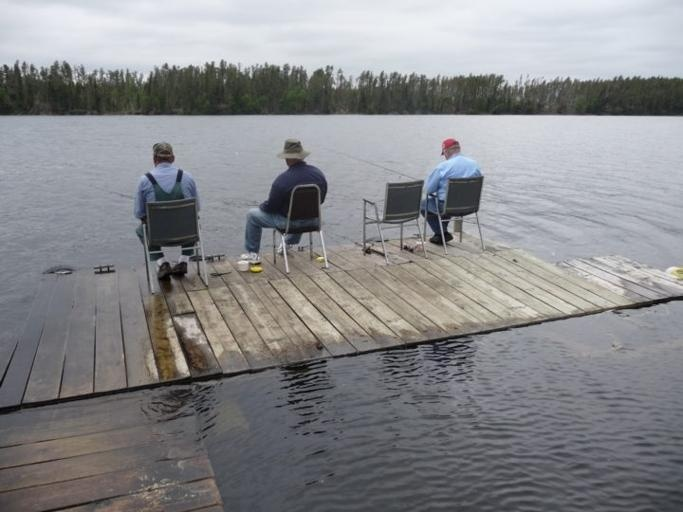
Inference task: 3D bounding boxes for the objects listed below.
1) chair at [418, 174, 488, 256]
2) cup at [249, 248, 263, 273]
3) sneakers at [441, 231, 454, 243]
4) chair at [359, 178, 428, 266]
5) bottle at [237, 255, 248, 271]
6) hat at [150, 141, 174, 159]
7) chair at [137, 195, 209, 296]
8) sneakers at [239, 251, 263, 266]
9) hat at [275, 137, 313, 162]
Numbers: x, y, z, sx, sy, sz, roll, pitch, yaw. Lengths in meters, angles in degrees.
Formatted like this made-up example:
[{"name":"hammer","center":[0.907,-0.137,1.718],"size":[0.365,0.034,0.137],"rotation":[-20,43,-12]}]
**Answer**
[{"name":"chair","center":[1.838,-0.725,7.970],"size":[1.044,1.028,0.952],"rotation":[-1,8,3]},{"name":"cup","center":[-1.224,0.084,7.006],"size":[0.139,0.146,0.347],"rotation":[-5,14,-10]},{"name":"sneakers","center":[1.809,-0.324,8.309],"size":[0.138,0.226,0.132],"rotation":[-17,39,-6]},{"name":"chair","center":[1.041,-0.546,7.136],"size":[0.760,0.953,0.765],"rotation":[2,14,-19]},{"name":"bottle","center":[-1.396,0.100,7.013],"size":[0.193,0.157,0.237],"rotation":[1,6,-4]},{"name":"hat","center":[-2.434,-1.448,6.652],"size":[0.297,0.147,0.420],"rotation":[-1,0,-16]},{"name":"chair","center":[-2.166,-0.181,6.313],"size":[0.763,1.148,0.623],"rotation":[-7,19,-20]},{"name":"sneakers","center":[-1.372,0.028,7.084],"size":[0.399,0.150,0.150],"rotation":[6,10,38]},{"name":"hat","center":[-0.710,-1.524,7.219],"size":[0.606,0.287,0.581],"rotation":[-3,15,-4]}]
